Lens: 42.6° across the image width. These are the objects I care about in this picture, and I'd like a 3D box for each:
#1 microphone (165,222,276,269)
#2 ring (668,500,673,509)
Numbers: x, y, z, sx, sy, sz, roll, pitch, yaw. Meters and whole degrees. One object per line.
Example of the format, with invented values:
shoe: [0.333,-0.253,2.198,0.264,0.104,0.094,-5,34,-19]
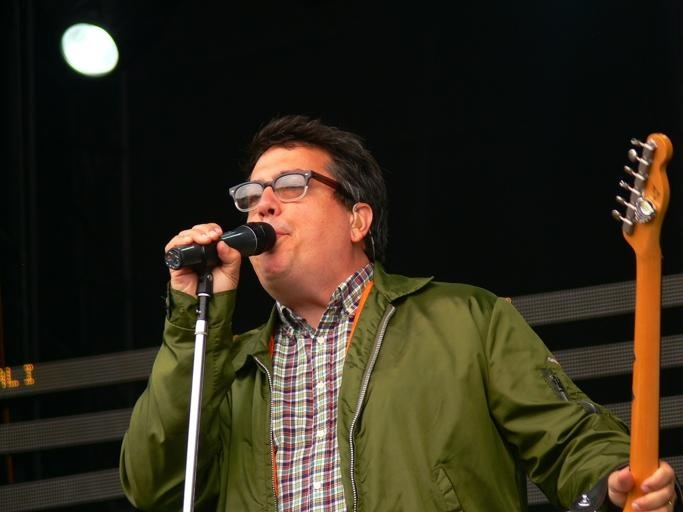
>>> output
microphone: [-0.389,-0.026,2.955,0.138,0.164,0.468,-3,3,39]
ring: [0.950,0.715,2.530,0.014,0.023,0.007,-2,3,5]
